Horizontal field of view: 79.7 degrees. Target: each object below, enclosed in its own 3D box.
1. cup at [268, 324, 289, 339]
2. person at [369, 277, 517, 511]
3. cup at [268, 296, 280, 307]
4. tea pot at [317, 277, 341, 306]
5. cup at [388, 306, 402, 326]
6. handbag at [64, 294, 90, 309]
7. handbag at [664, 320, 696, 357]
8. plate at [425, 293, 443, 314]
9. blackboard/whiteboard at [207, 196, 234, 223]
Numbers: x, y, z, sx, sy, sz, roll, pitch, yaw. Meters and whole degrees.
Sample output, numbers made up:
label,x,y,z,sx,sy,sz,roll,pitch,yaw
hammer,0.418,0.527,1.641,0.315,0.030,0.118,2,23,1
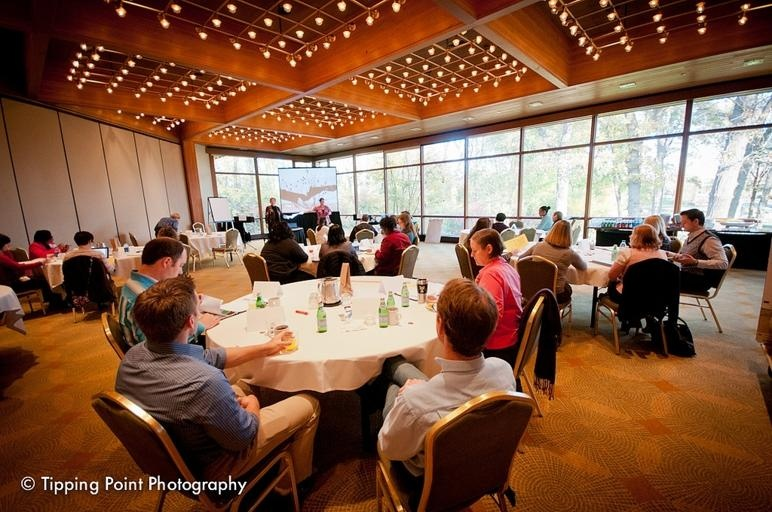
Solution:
label,x,y,z,sx,sy,sz,roll,pitch,yaw
cup,-1.187,0.836,5.159,0.121,0.126,0.194,6,7,39
person,0.574,1.338,4.492,1.316,2.216,0.430,-2,8,-6
cup,-1.334,0.533,5.537,0.121,0.086,0.118,-1,9,0
tea pot,-0.683,0.430,5.686,0.234,0.350,0.361,11,11,41
cup,0.114,0.680,5.282,0.132,0.168,0.204,0,10,2
handbag,-5.140,0.731,7.738,0.356,0.292,0.434,9,-8,-40
handbag,4.066,1.154,6.441,0.477,0.464,0.261,-1,-14,-3
plate,0.538,0.533,5.192,0.213,0.070,0.294,1,24,15
blackboard/whiteboard,-5.219,-1.455,14.529,0.296,0.732,0.914,-10,1,20
